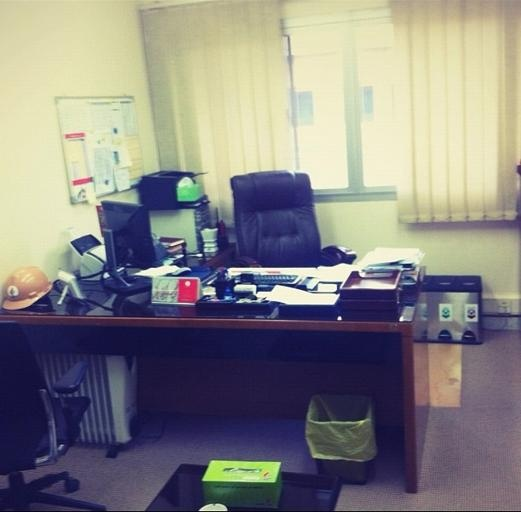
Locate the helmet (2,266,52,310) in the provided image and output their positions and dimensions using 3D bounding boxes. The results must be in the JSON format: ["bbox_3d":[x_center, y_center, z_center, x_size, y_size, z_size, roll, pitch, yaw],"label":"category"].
[{"bbox_3d":[-1.105,0.156,2.391,0.121,0.200,0.182,13,18,29],"label":"helmet"}]

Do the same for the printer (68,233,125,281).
[{"bbox_3d":[-0.951,0.026,2.865,0.339,0.231,0.235,11,27,21],"label":"printer"}]

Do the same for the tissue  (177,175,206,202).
[{"bbox_3d":[-0.505,-0.485,3.595,0.176,0.186,0.185,4,13,19],"label":"tissue "}]

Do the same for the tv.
[{"bbox_3d":[-0.718,-0.064,2.608,0.310,0.404,0.233,6,14,23],"label":"tv"}]

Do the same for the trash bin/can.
[{"bbox_3d":[0.354,0.767,2.169,0.281,0.306,0.326,-2,13,12],"label":"trash bin/can"}]

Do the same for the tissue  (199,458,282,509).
[{"bbox_3d":[-0.062,0.895,2.014,0.298,0.120,0.205,-2,13,13],"label":"tissue "}]
